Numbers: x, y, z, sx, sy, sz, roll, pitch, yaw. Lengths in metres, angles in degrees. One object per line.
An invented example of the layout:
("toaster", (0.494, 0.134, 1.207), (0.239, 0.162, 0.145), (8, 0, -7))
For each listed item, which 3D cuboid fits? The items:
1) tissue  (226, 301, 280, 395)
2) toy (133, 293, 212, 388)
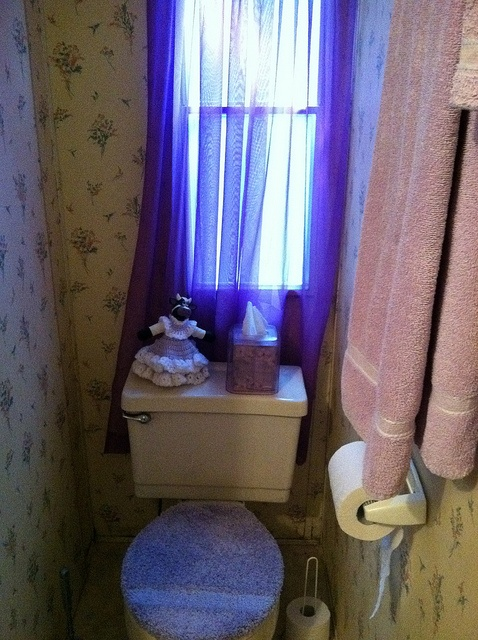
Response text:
("tissue ", (0.040, 0.089, 1.477), (0.133, 0.240, 0.191), (0, 16, 1))
("toy", (-0.195, 0.059, 1.490), (0.212, 0.322, 0.203), (1, 11, -20))
